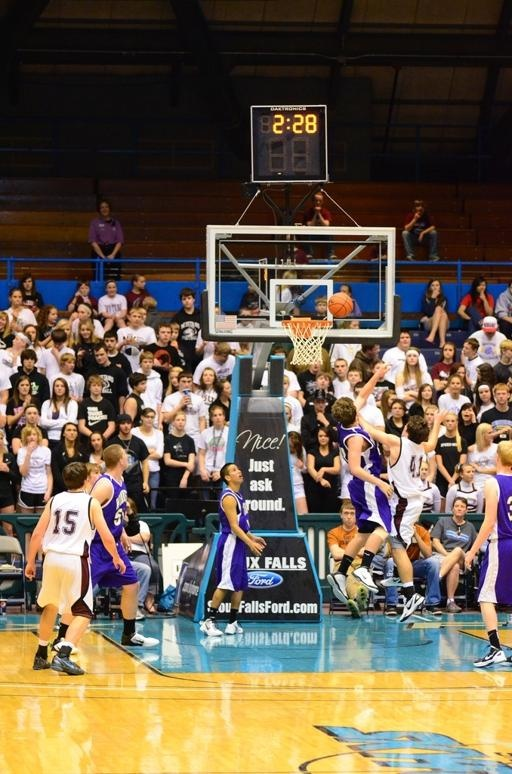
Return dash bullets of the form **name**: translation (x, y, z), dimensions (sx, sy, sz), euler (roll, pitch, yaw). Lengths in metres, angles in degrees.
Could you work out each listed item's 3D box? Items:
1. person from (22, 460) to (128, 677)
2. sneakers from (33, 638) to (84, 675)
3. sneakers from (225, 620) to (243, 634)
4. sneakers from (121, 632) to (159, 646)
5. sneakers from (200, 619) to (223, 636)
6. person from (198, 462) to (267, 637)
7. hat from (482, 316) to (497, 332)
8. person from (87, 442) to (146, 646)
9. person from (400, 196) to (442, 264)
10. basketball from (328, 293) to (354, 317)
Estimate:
- **person**: translation (-1.448, 1.376, 6.314), dimensions (0.636, 1.570, 0.775), euler (1, -4, 26)
- **sneakers**: translation (-1.454, 2.008, 6.096), dimensions (0.220, 0.241, 0.507), euler (6, -8, -39)
- **sneakers**: translation (-0.209, 2.369, 8.063), dimensions (0.088, 0.092, 0.207), euler (2, 1, 18)
- **sneakers**: translation (-1.012, 2.212, 7.207), dimensions (0.363, 0.144, 0.126), euler (0, 5, -11)
- **sneakers**: translation (-0.428, 2.325, 7.913), dimensions (0.095, 0.117, 0.254), euler (14, -7, -35)
- **person**: translation (-0.228, 1.606, 8.221), dimensions (0.566, 1.648, 0.815), euler (1, -6, 4)
- **hat**: translation (4.118, -1.109, 14.500), dimensions (0.213, 0.156, 0.303), euler (3, 30, 9)
- **person**: translation (-1.217, 1.343, 6.901), dimensions (0.711, 1.665, 0.477), euler (3, -10, -26)
- **person**: translation (3.679, -3.400, 18.453), dimensions (0.770, 1.419, 0.831), euler (1, -6, 9)
- **basketball**: translation (1.000, -0.975, 9.724), dimensions (0.344, 0.330, 0.341), euler (-1, -4, 7)
